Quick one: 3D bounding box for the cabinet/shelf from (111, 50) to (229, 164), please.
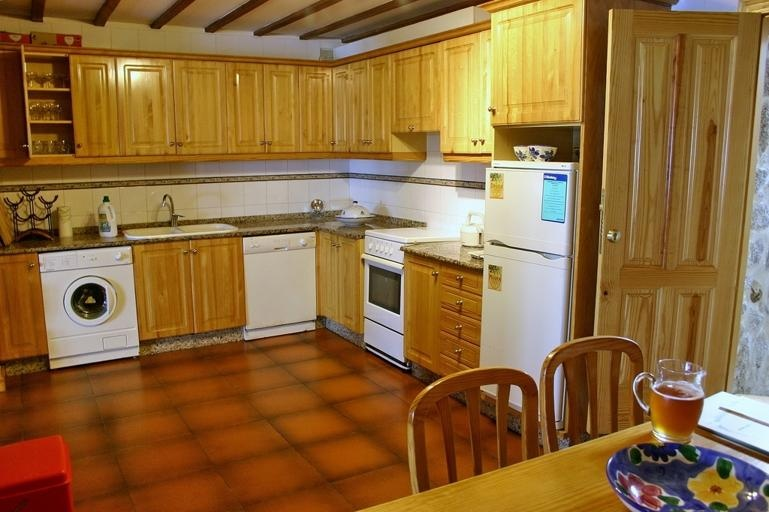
[{"bbox_3d":[-2.203,-1.510,5.339,1.168,0.979,0.485,-4,9,-27],"label":"cabinet/shelf"}]

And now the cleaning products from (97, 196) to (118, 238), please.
[{"bbox_3d":[-2.796,-0.398,5.334,0.173,0.380,0.415,-8,14,-26],"label":"cleaning products"}]

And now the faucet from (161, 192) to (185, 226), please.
[{"bbox_3d":[-2.291,-0.495,5.763,0.191,0.349,0.193,-12,17,-39],"label":"faucet"}]

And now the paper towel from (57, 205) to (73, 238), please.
[{"bbox_3d":[-3.159,-0.347,5.271,0.136,0.300,0.133,-8,12,-38],"label":"paper towel"}]

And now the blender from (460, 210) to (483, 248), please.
[{"bbox_3d":[0.807,-0.229,4.732,0.240,0.324,0.323,-1,7,-16],"label":"blender"}]

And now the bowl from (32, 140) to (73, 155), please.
[{"bbox_3d":[-3.173,-1.024,5.047,0.187,0.083,0.257,0,3,-11],"label":"bowl"}]

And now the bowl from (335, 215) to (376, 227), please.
[{"bbox_3d":[-0.321,-0.405,5.923,0.422,0.111,0.350,-3,13,-10],"label":"bowl"}]
